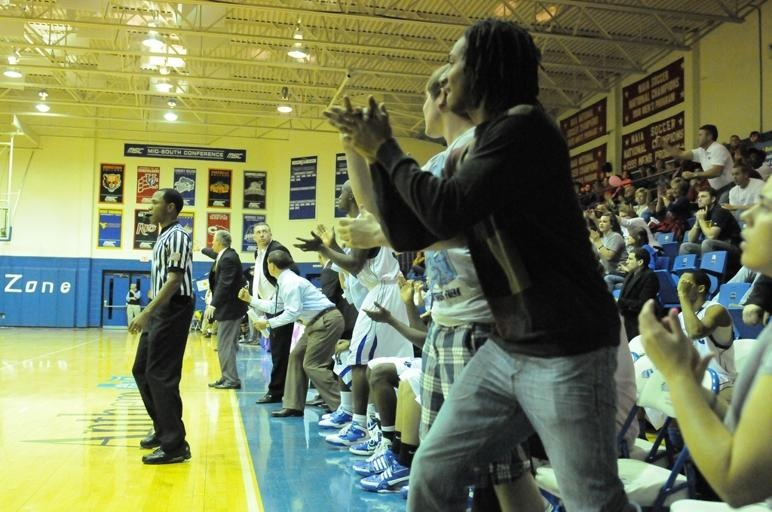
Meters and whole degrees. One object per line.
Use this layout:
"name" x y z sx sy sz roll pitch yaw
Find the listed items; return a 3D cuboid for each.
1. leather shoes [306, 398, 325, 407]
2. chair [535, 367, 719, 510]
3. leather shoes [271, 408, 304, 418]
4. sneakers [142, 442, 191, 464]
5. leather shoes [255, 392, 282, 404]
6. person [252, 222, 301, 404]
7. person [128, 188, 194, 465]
"leather shoes" -0.893 1.917 8.538 0.249 0.095 0.090 1 -26 9
"chair" 1.988 1.303 5.115 1.229 1.519 0.859 2 -8 -15
"leather shoes" -1.138 1.856 7.806 0.394 0.156 0.128 7 -14 -15
"sneakers" -1.953 1.806 5.979 0.440 0.178 0.157 4 -9 -14
"leather shoes" -1.466 1.840 8.487 0.373 0.150 0.123 6 -8 -15
"person" -1.505 0.767 8.797 0.846 2.439 0.769 -2 -9 -26
"person" -2.002 0.614 5.965 0.544 2.516 0.632 0 -1 -18
